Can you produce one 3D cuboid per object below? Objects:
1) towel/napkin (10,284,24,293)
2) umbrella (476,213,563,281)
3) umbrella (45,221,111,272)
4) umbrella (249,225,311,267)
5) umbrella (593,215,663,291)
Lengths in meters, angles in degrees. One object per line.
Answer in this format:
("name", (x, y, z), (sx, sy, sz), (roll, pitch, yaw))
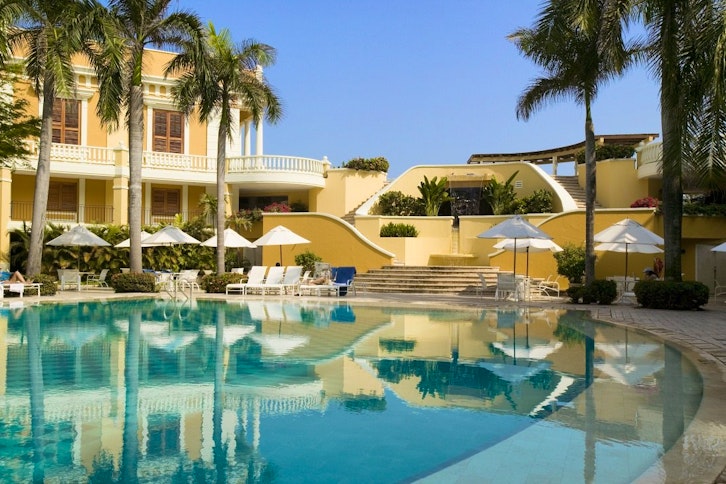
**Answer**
("towel/napkin", (-12.484, 1.578, 24.153), (0.421, 0.274, 0.433), (-1, -3, 35))
("umbrella", (5.953, -0.235, 25.404), (2.702, 2.172, 2.809), (2, -5, -1))
("umbrella", (-12.023, -0.079, 28.338), (2.345, 2.171, 2.366), (-1, -1, -27))
("umbrella", (-3.641, -0.100, 28.789), (1.945, 1.658, 2.046), (-2, 1, 23))
("umbrella", (9.865, 0.544, 25.631), (2.804, 2.627, 2.908), (1, 4, 25))
